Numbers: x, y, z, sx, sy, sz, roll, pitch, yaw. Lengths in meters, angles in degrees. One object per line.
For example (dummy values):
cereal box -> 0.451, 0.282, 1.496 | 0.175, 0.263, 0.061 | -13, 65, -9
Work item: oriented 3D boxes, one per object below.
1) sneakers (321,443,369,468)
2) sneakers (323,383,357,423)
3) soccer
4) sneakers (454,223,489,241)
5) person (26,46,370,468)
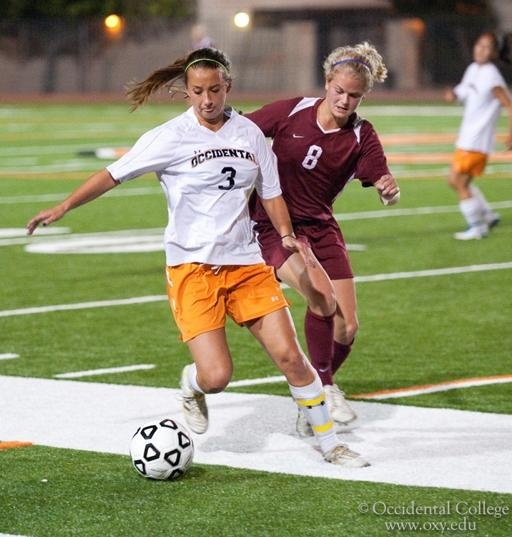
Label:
sneakers -> 0.392, 0.834, 3.596 | 0.174, 0.049, 0.091 | 0, 7, 34
sneakers -> 0.425, 0.674, 4.196 | 0.124, 0.108, 0.279 | -22, 40, -17
soccer -> -0.392, 0.810, 3.516 | 0.255, 0.180, 0.250 | -13, -17, 43
sneakers -> 1.950, -0.326, 7.324 | 0.301, 0.131, 0.422 | 4, 9, 13
person -> -0.168, -0.065, 3.659 | 1.329, 1.831, 0.569 | 3, 14, 4
